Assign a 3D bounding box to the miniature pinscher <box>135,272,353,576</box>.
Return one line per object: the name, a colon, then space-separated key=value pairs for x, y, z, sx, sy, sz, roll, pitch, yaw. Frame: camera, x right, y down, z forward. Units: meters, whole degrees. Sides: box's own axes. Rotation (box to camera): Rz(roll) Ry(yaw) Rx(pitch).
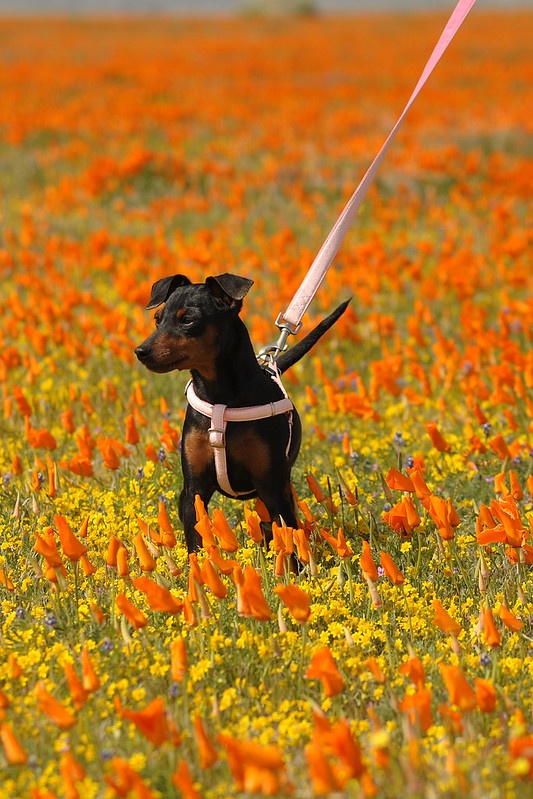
miniature pinscher: x=-0.130 y=0.026 z=2.713 sx=0.541 sy=0.820 sz=0.580 roll=5 pitch=38 yaw=-3
